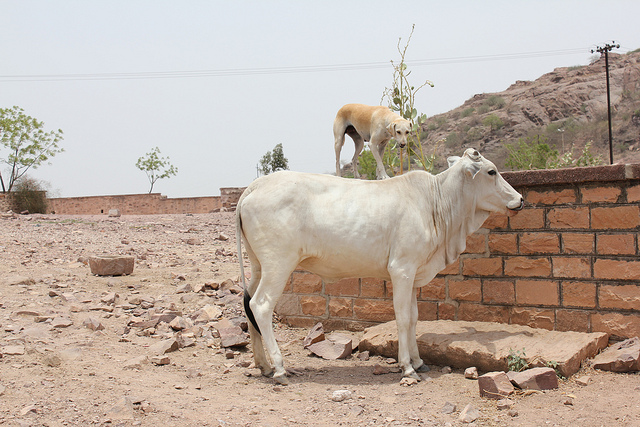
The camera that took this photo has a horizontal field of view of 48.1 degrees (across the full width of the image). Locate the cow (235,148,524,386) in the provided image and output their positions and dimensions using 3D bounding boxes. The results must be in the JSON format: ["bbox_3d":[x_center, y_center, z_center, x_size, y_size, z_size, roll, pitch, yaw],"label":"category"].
[{"bbox_3d":[0.929,0.761,10.737,4.362,3.247,1.512,-2,-2,-7],"label":"cow"}]
